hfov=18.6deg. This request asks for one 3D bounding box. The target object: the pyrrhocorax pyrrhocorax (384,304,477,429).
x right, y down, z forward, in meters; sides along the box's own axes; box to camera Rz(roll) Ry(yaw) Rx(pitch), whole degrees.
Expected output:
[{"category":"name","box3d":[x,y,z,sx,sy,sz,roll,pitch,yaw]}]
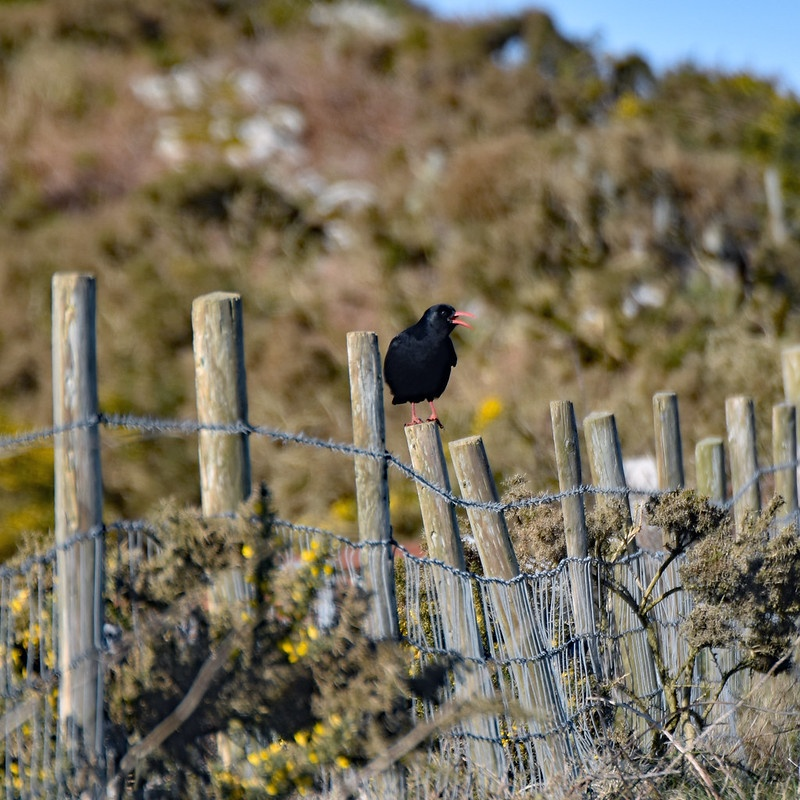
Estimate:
[{"category":"pyrrhocorax pyrrhocorax","box3d":[0.199,-0.337,20.918,0.572,1.219,1.043,-8,14,-32]}]
